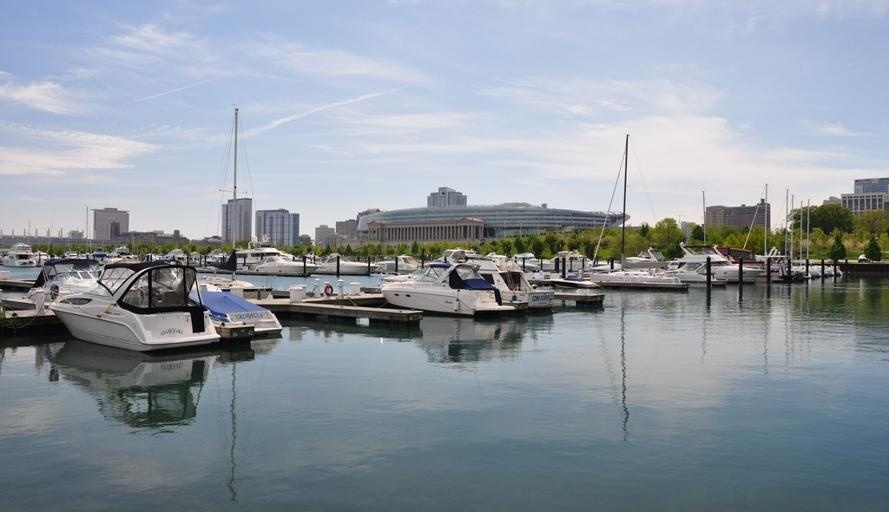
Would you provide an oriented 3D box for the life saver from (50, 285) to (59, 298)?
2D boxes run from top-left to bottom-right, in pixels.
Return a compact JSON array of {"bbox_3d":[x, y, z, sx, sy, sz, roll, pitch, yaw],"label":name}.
[{"bbox_3d":[-21.212,1.973,38.972,0.434,0.422,1.726,-9,15,-28],"label":"life saver"}]

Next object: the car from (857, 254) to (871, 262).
[{"bbox_3d":[67.994,0.360,116.343,1.314,0.818,2.018,5,12,37],"label":"car"}]

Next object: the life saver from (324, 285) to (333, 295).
[{"bbox_3d":[-7.324,2.165,45.117,0.755,0.579,0.158,-2,7,-9],"label":"life saver"}]
